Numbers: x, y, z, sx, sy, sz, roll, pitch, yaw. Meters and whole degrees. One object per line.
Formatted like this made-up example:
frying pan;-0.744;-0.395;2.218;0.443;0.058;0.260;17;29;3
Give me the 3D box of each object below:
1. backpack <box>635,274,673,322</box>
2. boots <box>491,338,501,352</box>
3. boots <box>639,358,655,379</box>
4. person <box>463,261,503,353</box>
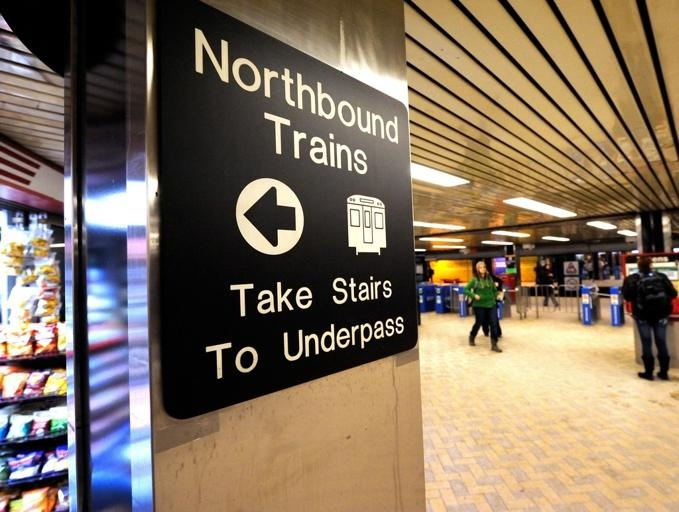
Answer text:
backpack;4.256;0.570;6.752;0.454;0.679;0.204;1;5;33
boots;2.744;1.551;8.740;0.177;0.229;0.262;-1;5;18
boots;4.214;1.530;6.888;0.181;0.287;0.317;1;6;32
person;2.685;0.889;9.369;0.608;1.683;1.471;-1;5;17
